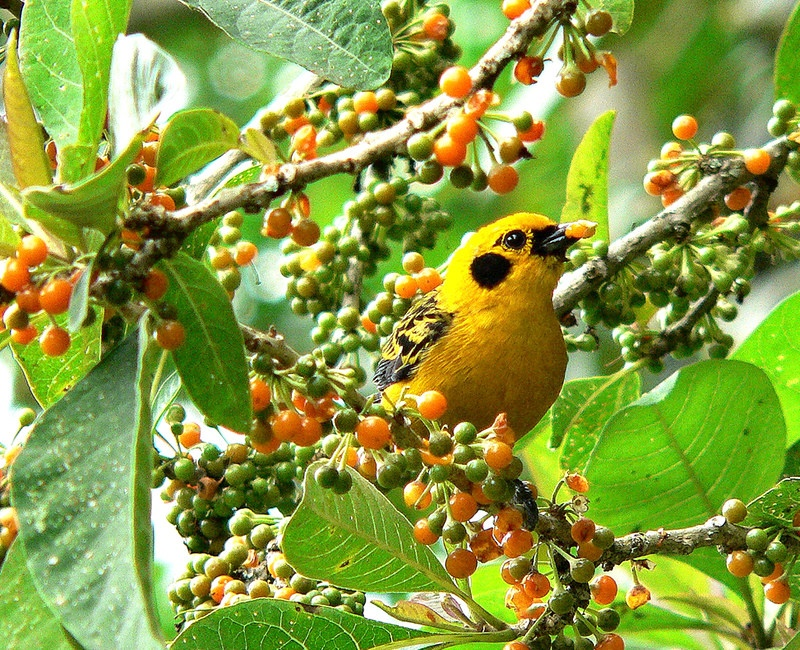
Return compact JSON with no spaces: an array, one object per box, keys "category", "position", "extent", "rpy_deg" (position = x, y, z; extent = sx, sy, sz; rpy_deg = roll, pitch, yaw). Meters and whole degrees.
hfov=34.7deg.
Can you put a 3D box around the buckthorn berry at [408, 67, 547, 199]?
[{"category":"buckthorn berry","position":[0.175,-0.554,3.422],"extent":[0.386,0.194,0.347],"rpy_deg":[-14,-31,15]}]
